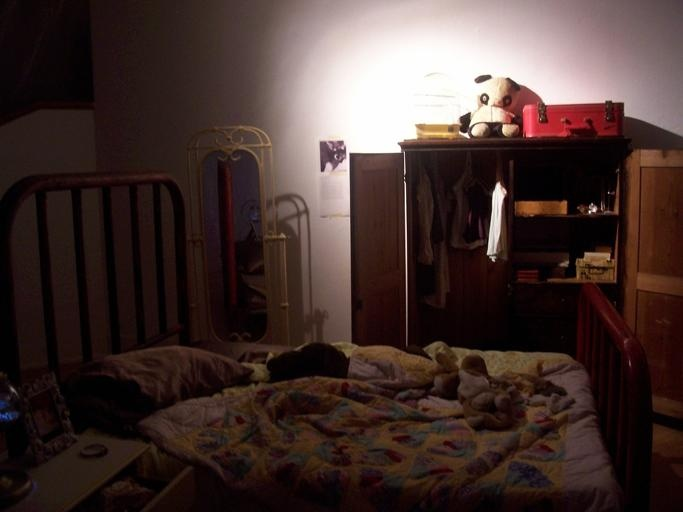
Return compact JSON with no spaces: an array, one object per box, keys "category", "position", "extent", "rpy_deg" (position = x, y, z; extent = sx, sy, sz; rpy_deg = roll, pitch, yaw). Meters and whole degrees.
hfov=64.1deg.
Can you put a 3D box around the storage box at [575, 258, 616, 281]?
[{"category":"storage box","position":[1.975,0.124,4.246],"extent":[0.208,0.143,0.163],"rpy_deg":[3,16,22]}]

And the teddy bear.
[{"category":"teddy bear","position":[1.163,-1.109,4.202],"extent":[0.440,0.538,0.334],"rpy_deg":[7,-4,11]}]
